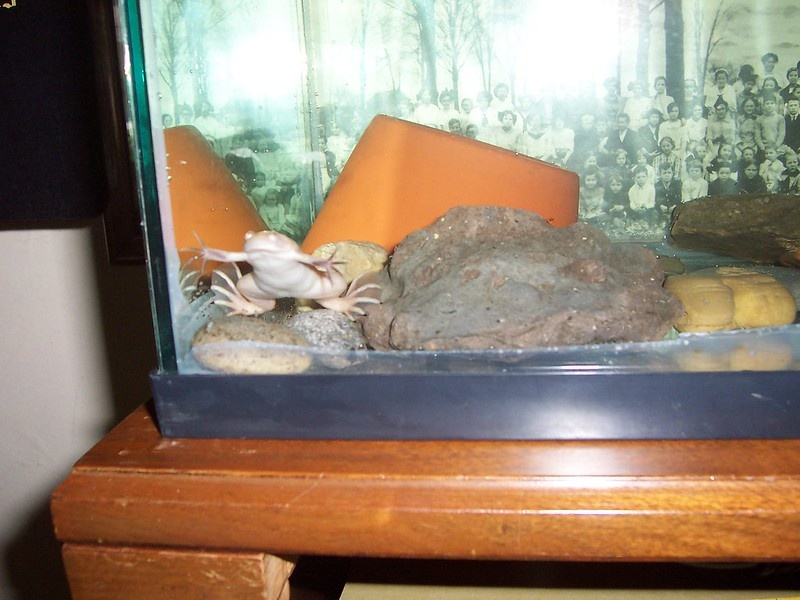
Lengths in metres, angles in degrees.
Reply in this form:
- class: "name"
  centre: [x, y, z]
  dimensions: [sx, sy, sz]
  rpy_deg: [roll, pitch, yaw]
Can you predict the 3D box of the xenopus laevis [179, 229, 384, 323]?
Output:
- class: "xenopus laevis"
  centre: [-0.154, -0.024, 0.940]
  dimensions: [0.179, 0.052, 0.129]
  rpy_deg: [-4, -29, 14]
